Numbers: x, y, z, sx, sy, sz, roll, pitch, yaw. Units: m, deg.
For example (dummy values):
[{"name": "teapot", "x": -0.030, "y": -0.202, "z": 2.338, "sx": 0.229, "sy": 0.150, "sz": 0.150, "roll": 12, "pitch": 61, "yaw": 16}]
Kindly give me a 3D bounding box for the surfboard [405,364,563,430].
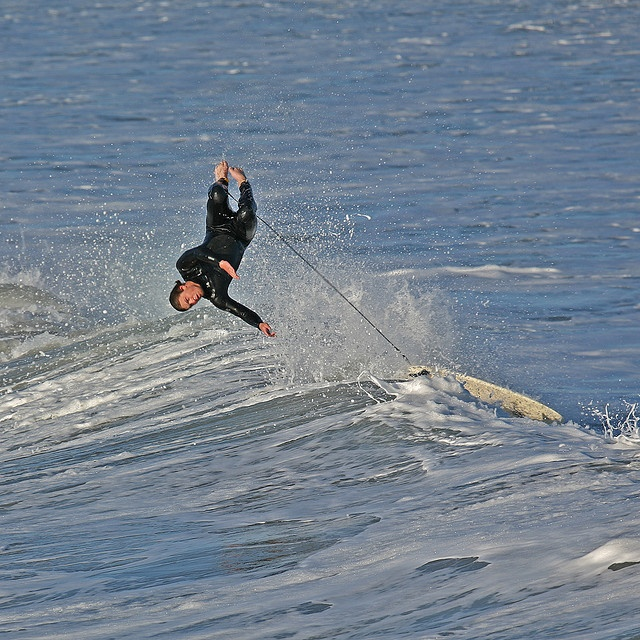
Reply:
[{"name": "surfboard", "x": 2.792, "y": 1.425, "z": 27.760, "sx": 3.848, "sy": 0.428, "sz": 0.846, "roll": 19, "pitch": 37, "yaw": 36}]
